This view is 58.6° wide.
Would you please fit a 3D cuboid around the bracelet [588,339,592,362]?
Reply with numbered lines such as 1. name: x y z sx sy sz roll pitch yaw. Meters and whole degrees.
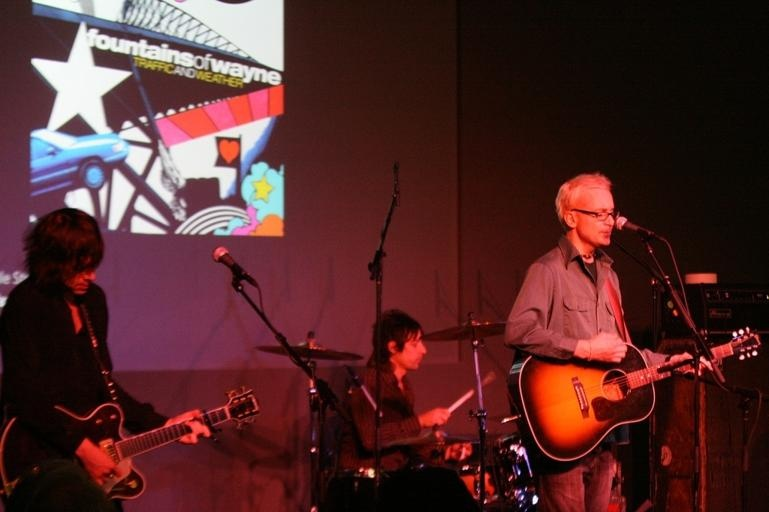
1. bracelet: 1.318 0.599 4.379 0.025 0.104 0.058 -4 -17 16

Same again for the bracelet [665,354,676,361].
1. bracelet: 1.962 0.702 4.715 0.051 0.054 0.014 -9 -62 38

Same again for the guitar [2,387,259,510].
1. guitar: -1.540 1.056 4.316 0.187 1.580 0.692 -7 -80 48

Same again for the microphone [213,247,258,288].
1. microphone: -1.126 0.085 5.108 0.099 0.090 0.318 -35 -79 29

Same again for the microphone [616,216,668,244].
1. microphone: 2.105 -0.212 5.652 0.396 0.132 0.118 28 -42 32

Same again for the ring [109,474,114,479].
1. ring: -1.655 1.344 4.159 0.021 0.025 0.014 20 -62 -39

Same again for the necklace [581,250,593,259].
1. necklace: 1.380 -0.006 4.684 0.058 0.025 0.047 -6 -31 17
